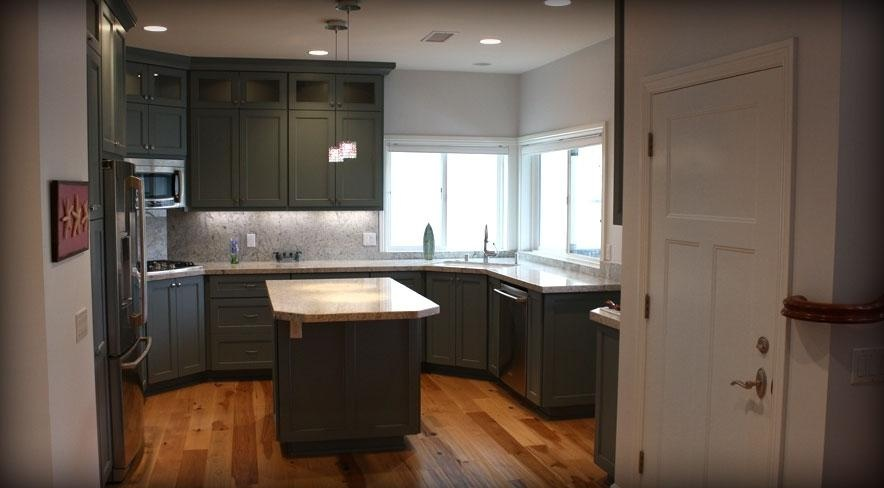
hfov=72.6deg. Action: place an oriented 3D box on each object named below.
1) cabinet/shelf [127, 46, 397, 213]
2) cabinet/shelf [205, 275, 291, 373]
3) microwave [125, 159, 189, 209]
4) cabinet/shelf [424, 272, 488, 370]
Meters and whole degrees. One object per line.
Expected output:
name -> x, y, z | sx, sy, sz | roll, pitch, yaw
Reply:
cabinet/shelf -> -2.080, -1.282, 6.543 | 2.144, 1.093, 0.509 | 0, 0, -10
cabinet/shelf -> -2.144, 0.828, 6.433 | 0.768, 0.997, 0.274 | -3, 13, -13
microwave -> -3.133, -0.616, 6.375 | 0.466, 0.537, 0.667 | 3, 8, 33
cabinet/shelf -> 0.155, 0.811, 6.547 | 0.752, 0.997, 0.324 | 3, 13, 13
